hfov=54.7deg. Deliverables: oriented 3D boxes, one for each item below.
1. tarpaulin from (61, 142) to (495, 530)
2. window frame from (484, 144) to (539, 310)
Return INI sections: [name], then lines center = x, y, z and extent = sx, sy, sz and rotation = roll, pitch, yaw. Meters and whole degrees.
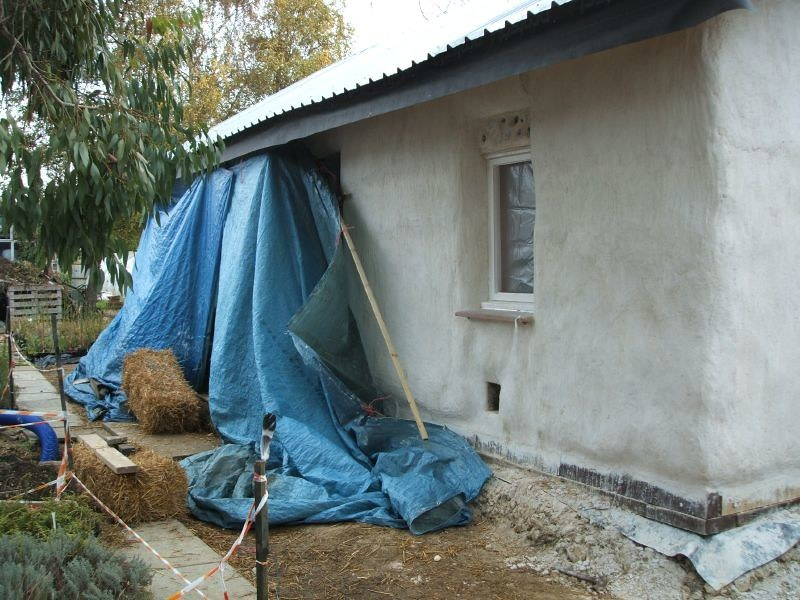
[tarpaulin]
center = -2.180, -0.592, 9.611
extent = 2.214, 3.009, 5.975
rotation = 7, 3, -29
[window frame]
center = 1.018, -0.662, 6.665
extent = 0.067, 1.163, 0.538
rotation = 4, -6, -45
